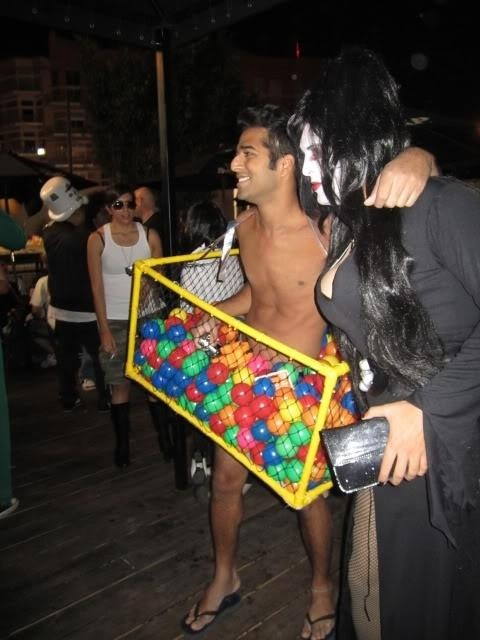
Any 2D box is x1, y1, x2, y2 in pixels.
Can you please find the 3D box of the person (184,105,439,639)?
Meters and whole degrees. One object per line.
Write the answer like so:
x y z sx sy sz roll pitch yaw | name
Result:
0.200 0.238 1.940 0.795 2.076 0.769 -4 4 -37 | person

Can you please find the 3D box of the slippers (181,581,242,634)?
-0.132 1.196 2.069 0.246 0.081 0.109 -11 14 -41 | slippers

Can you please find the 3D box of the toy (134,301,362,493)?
-0.004 0.259 1.716 0.590 0.584 0.620 -3 15 -20 | toy
